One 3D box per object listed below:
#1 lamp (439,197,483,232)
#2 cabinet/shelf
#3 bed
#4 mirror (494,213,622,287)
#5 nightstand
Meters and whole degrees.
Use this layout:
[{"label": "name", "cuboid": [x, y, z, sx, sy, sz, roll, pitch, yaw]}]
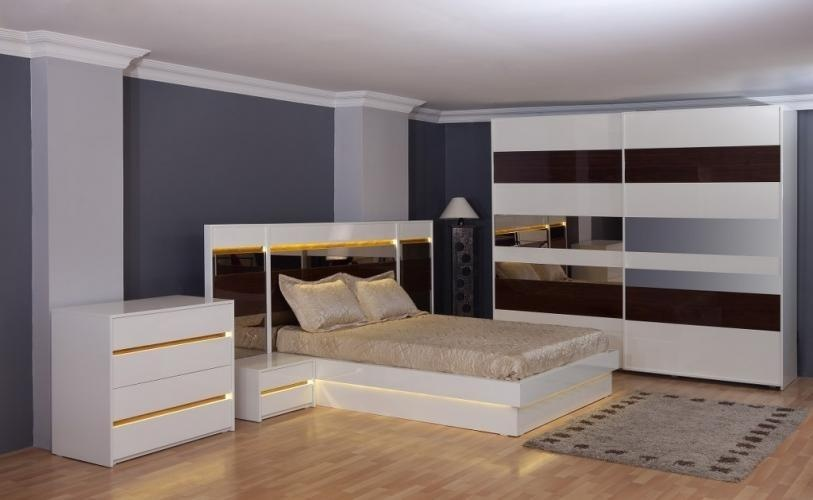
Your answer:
[{"label": "lamp", "cuboid": [0.725, -0.508, 7.725, 0.501, 0.398, 0.588, 0, 8, 6]}, {"label": "cabinet/shelf", "cuboid": [-2.157, 1.050, 4.773, 1.463, 1.184, 0.620, -5, 10, -27]}, {"label": "bed", "cuboid": [0.248, 1.105, 5.329, 1.813, 0.350, 1.387, 1, 3, 36]}, {"label": "mirror", "cuboid": [1.828, -0.041, 6.857, 1.132, 0.840, 0.258, 0, 7, 26]}, {"label": "nightstand", "cuboid": [-1.196, 1.290, 5.451, 0.574, 0.469, 0.854, -1, 0, 39]}]
